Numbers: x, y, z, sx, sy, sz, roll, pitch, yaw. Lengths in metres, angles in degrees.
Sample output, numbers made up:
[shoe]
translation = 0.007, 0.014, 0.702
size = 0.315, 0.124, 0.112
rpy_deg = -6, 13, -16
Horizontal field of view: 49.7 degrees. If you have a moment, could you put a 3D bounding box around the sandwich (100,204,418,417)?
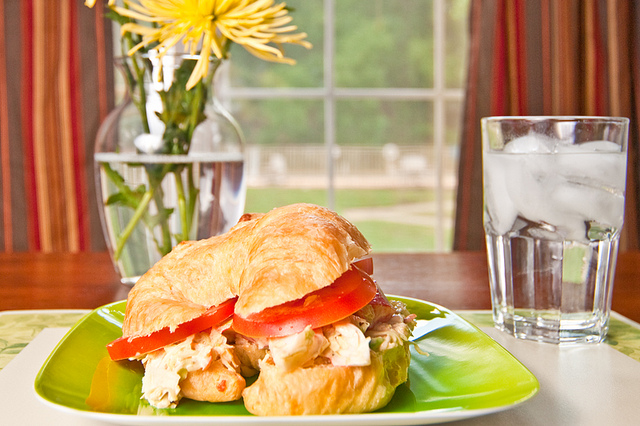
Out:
[sandwich]
translation = -0.074, 0.091, 0.967
size = 0.268, 0.159, 0.329
rpy_deg = -1, 3, -8

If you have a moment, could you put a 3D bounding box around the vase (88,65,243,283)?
[vase]
translation = -0.267, -0.074, 1.237
size = 0.242, 0.366, 0.221
rpy_deg = -1, 7, -11
